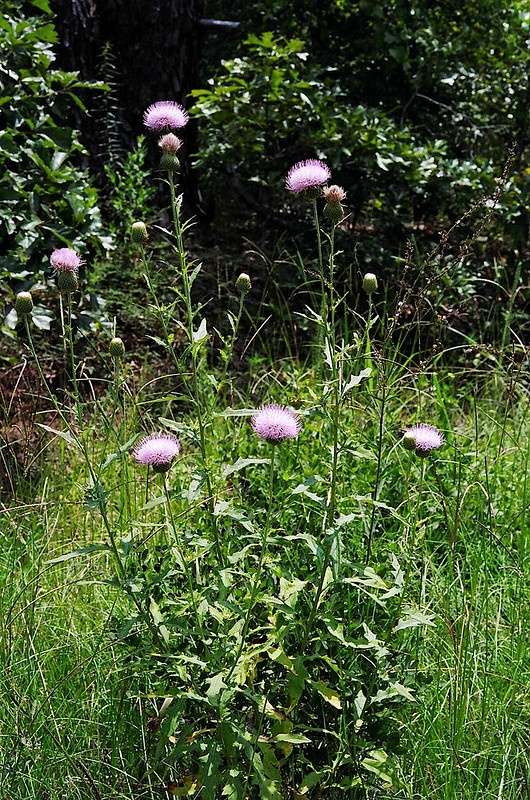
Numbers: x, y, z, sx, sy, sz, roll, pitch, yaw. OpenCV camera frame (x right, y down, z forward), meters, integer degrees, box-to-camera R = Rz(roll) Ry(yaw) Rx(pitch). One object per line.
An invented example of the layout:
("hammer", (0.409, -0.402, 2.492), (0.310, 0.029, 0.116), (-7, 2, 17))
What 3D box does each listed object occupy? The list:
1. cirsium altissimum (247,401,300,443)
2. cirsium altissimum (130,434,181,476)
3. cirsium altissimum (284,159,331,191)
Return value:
("cirsium altissimum", (0.018, 0.041, 1.662), (0.093, 0.081, 0.086), (4, 14, 10))
("cirsium altissimum", (-0.234, 0.119, 1.860), (0.108, 0.064, 0.102), (2, 40, 29))
("cirsium altissimum", (0.109, -0.545, 1.995), (0.110, 0.055, 0.103), (-18, 24, 21))
